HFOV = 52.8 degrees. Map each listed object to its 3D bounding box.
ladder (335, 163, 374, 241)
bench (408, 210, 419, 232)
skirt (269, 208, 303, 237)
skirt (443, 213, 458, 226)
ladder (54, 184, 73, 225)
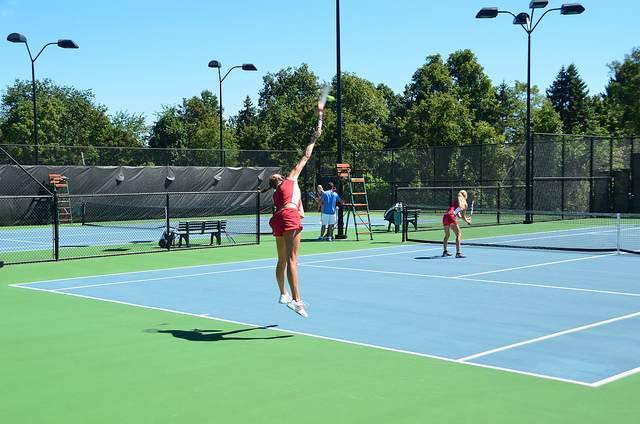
[{"bbox_3d":[1.613,-0.204,28.312,1.775,3.472,1.190,-2,-4,-24],"label":"ladder"},{"bbox_3d":[4.276,0.423,29.542,0.952,1.016,0.819,0,1,10],"label":"bench"},{"bbox_3d":[-0.625,0.177,11.720,0.469,0.465,0.657,-2,-5,-31],"label":"skirt"},{"bbox_3d":[3.995,0.204,19.995,0.502,0.524,0.328,3,6,29],"label":"skirt"},{"bbox_3d":[-13.570,-0.399,34.287,0.677,2.278,2.084,-4,9,-22],"label":"ladder"}]
